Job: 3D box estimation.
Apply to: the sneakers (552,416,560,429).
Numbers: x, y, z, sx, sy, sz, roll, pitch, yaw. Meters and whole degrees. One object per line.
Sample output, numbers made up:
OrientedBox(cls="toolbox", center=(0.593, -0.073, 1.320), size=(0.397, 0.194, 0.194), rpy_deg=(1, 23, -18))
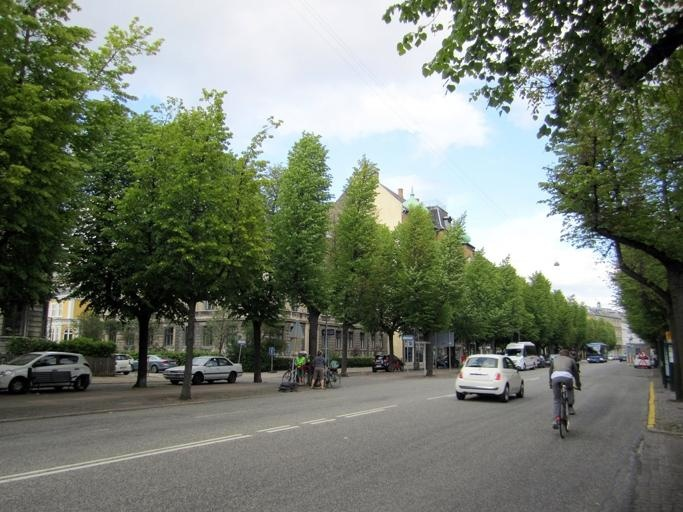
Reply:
OrientedBox(cls="sneakers", center=(5.171, 3.958, 13.101), size=(0.138, 0.273, 0.335), rpy_deg=(-4, -13, 24))

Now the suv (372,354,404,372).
OrientedBox(cls="suv", center=(4.732, 10.245, 53.034), size=(1.661, 1.274, 3.197), rpy_deg=(-4, -7, 30))

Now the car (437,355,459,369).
OrientedBox(cls="car", center=(12.571, 12.443, 64.121), size=(2.552, 1.432, 1.656), rpy_deg=(8, -23, -6))

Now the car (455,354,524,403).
OrientedBox(cls="car", center=(5.824, 4.733, 21.389), size=(1.618, 1.764, 2.924), rpy_deg=(-9, -15, 37))

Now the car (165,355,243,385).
OrientedBox(cls="car", center=(-7.917, 6.625, 32.097), size=(4.145, 1.671, 1.590), rpy_deg=(12, -16, -42))

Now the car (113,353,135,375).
OrientedBox(cls="car", center=(-17.057, 8.635, 42.964), size=(1.501, 1.382, 2.666), rpy_deg=(3, -5, -22))

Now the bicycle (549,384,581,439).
OrientedBox(cls="bicycle", center=(5.597, 3.640, 13.674), size=(0.561, 0.868, 1.421), rpy_deg=(-6, -28, 29))
